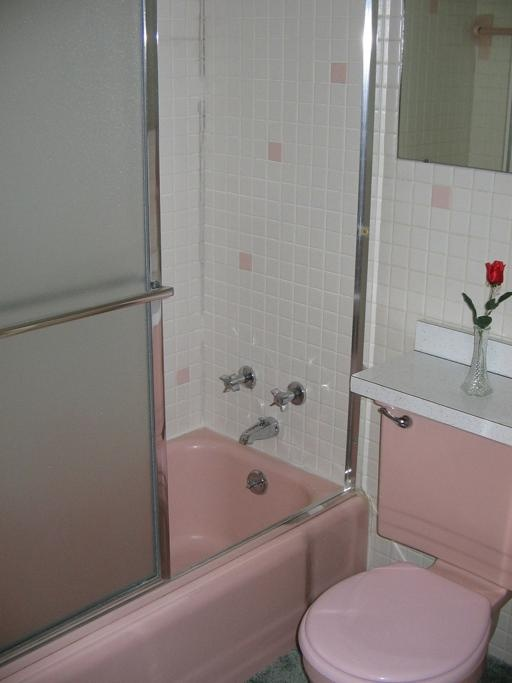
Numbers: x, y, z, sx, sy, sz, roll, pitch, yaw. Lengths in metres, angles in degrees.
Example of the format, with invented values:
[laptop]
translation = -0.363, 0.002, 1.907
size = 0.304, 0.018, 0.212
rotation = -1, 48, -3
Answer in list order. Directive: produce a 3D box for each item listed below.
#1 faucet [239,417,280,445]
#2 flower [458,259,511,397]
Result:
[faucet]
translation = 0.014, 0.273, 1.729
size = 0.116, 0.064, 0.068
rotation = -26, 24, -26
[flower]
translation = 0.526, -0.039, 1.305
size = 0.104, 0.296, 0.209
rotation = 6, 10, 20
